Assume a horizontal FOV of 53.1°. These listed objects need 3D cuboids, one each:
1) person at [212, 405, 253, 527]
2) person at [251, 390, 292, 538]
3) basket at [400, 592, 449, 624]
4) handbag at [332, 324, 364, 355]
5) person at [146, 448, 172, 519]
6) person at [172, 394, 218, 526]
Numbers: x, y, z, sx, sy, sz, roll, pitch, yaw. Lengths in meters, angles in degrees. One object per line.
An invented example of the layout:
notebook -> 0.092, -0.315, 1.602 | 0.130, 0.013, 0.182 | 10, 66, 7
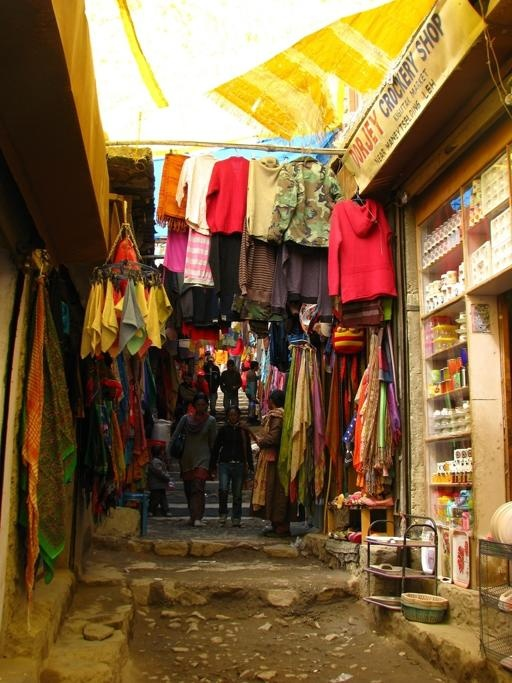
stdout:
person -> -0.401, 2.015, 8.309 | 0.619, 1.853, 0.666 | 3, -10, 0
person -> 0.271, 1.755, 7.549 | 0.445, 2.079, 0.768 | 8, -11, -25
basket -> 1.095, 1.752, 3.341 | 0.272, 0.169, 0.267 | 4, -11, -6
handbag -> 0.973, -0.036, 5.424 | 0.245, 0.369, 0.195 | 3, -36, 15
person -> -1.647, 2.370, 8.714 | 0.389, 1.215, 1.040 | 4, -10, -8
person -> -1.030, 1.923, 8.207 | 0.708, 2.136, 0.704 | 0, -6, 20
